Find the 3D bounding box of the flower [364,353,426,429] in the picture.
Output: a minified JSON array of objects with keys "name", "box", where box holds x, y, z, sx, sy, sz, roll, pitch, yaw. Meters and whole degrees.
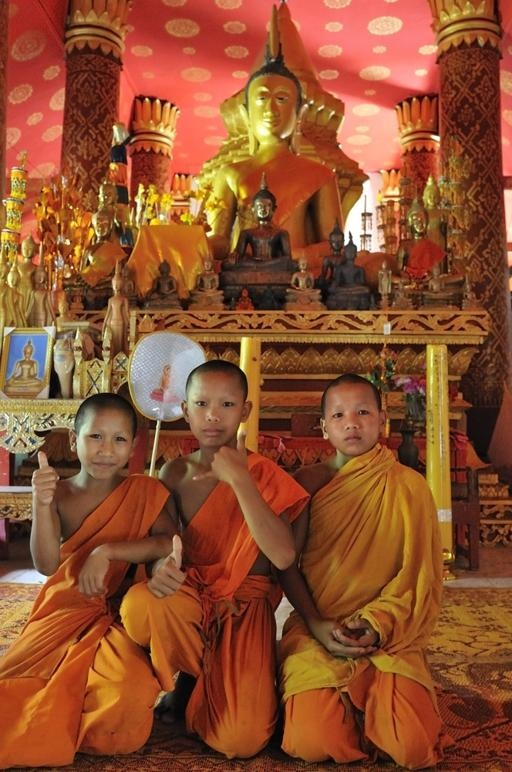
[{"name":"flower","box":[0.638,0.019,3.229,0.322,0.397,0.152,-1,2,-1]}]
